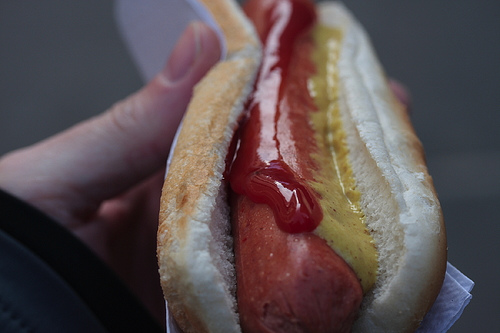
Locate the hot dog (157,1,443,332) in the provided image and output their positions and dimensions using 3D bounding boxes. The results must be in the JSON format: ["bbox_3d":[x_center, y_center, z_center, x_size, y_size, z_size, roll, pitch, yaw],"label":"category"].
[{"bbox_3d":[0.134,-0.041,1.325,0.630,0.341,0.835,3,52,5],"label":"hot dog"}]
